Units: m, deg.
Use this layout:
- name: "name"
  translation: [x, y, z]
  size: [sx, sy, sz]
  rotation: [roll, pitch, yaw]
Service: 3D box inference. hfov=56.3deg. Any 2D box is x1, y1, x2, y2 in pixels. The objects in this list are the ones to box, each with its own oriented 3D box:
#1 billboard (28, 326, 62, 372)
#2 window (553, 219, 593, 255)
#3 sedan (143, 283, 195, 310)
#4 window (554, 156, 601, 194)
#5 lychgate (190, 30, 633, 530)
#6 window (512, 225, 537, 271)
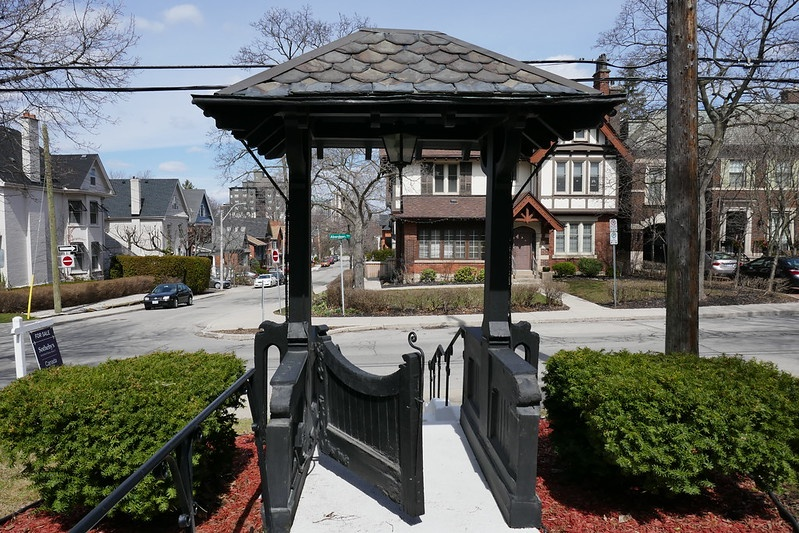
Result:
- name: "billboard"
  translation: [-8.441, 1.940, 17.846]
  size: [0.555, 1.102, 0.093]
  rotation: [-15, 30, -24]
- name: "window"
  translation: [9.421, -1.673, 40.249]
  size: [1.666, 1.650, 0.211]
  rotation: [0, 3, 1]
- name: "sedan"
  translation: [-11.222, 1.434, 36.022]
  size: [1.189, 1.108, 2.953]
  rotation: [-1, 3, 12]
- name: "window"
  translation: [9.571, -4.964, 39.909]
  size: [1.715, 1.479, 0.139]
  rotation: [0, 5, 2]
- name: "lychgate"
  translation: [0.335, -0.298, 17.041]
  size: [8.683, 10.382, 7.802]
  rotation: [2, -1, 38]
- name: "window"
  translation: [6.419, -0.829, 39.269]
  size: [1.172, 2.395, 0.221]
  rotation: [-1, -17, 8]
